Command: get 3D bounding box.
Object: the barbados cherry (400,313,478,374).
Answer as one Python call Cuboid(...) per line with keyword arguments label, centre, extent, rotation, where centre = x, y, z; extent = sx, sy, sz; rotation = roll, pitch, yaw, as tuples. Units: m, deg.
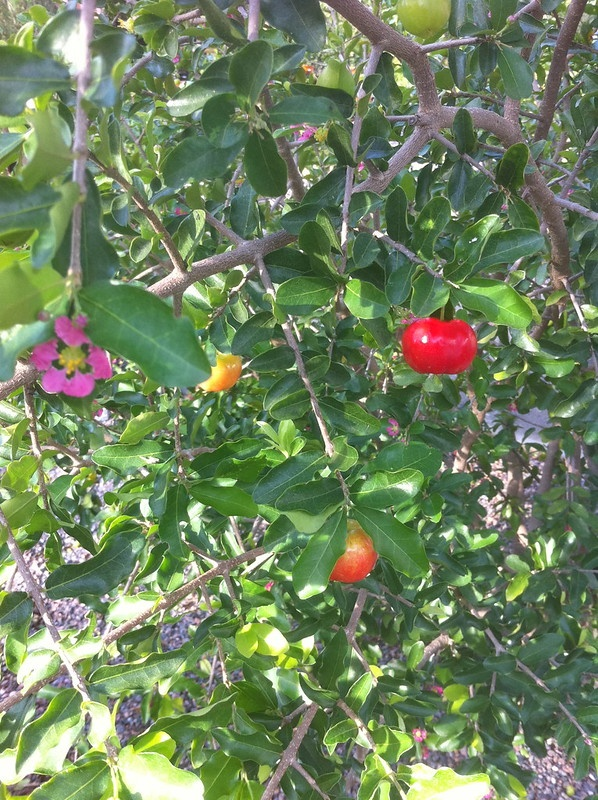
Cuboid(label="barbados cherry", centre=(0.304, -0.108, 1.580), extent=(0.167, 0.111, 0.148), rotation=(-2, -1, 10))
